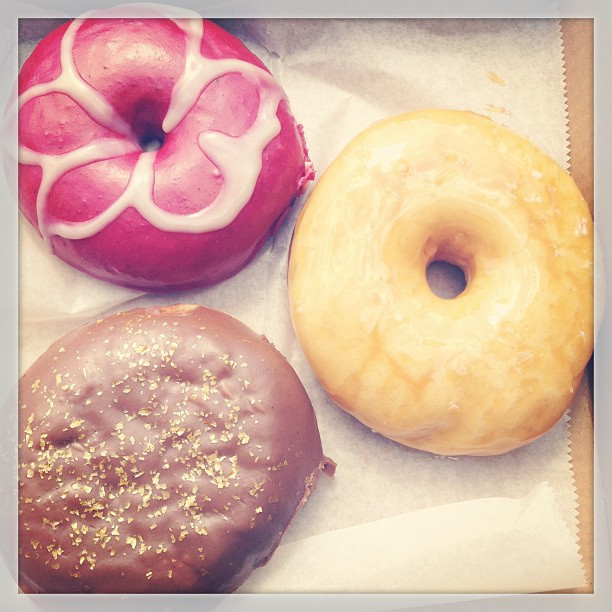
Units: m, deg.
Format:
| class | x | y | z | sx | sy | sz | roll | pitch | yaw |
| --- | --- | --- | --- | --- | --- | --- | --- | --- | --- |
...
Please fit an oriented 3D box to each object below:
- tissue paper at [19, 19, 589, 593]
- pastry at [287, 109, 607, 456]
| class | x | y | z | sx | sy | sz | roll | pitch | yaw |
| --- | --- | --- | --- | --- | --- | --- | --- | --- | --- |
| tissue paper | -0.018 | 0.046 | 1.594 | 1.729 | 1.258 | 0.181 | -1 | 0 | 3 |
| pastry | 0.297 | -0.039 | 1.586 | 0.616 | 0.322 | 0.610 | 34 | 65 | 20 |
